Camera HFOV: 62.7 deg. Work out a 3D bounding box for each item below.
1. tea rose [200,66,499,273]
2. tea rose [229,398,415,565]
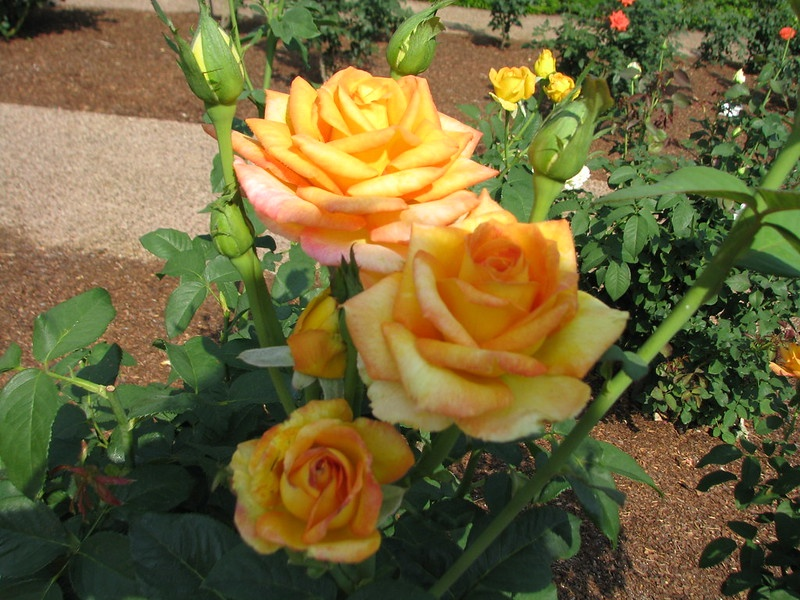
[{"bbox_3d":[-0.123,-0.166,1.234,0.469,0.444,0.230,-1,60,-24],"label":"tea rose"},{"bbox_3d":[-0.120,0.316,1.129,0.292,0.134,0.333,-19,46,1],"label":"tea rose"}]
